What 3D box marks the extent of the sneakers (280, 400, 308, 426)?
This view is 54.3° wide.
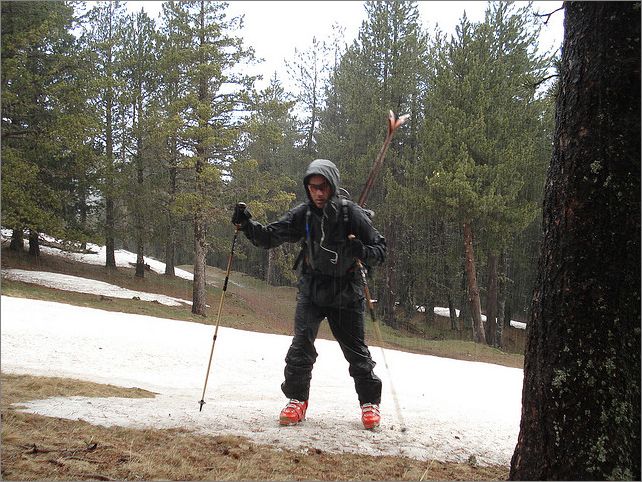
[{"bbox_3d":[-0.325,2.107,7.713,0.206,0.281,0.486,3,-8,33],"label":"sneakers"}]

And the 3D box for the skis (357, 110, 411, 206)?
[{"bbox_3d":[0.826,-1.077,8.390,0.111,1.213,0.256,16,6,-46],"label":"skis"}]

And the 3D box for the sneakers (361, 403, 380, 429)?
[{"bbox_3d":[0.628,2.174,7.764,0.248,0.288,0.295,6,-6,5],"label":"sneakers"}]
